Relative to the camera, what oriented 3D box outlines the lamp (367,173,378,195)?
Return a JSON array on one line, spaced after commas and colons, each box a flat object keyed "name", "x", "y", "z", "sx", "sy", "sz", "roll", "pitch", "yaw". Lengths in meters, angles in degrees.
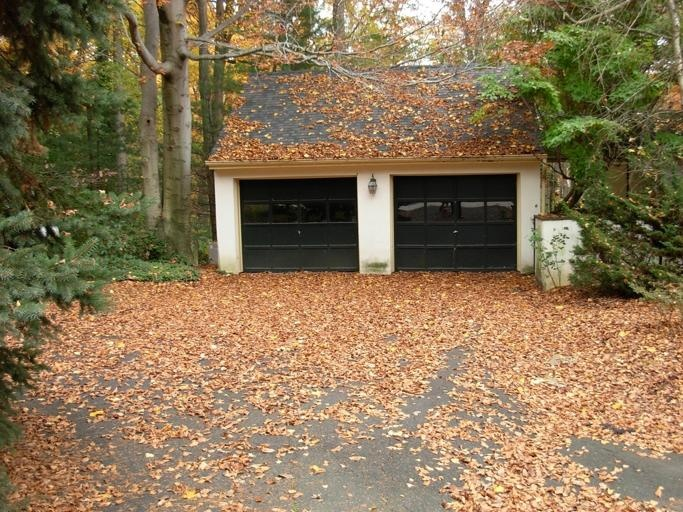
[{"name": "lamp", "x": 0.868, "y": -1.959, "z": 14.746, "sx": 0.271, "sy": 0.565, "sz": 0.192, "roll": 0, "pitch": 13, "yaw": 2}]
